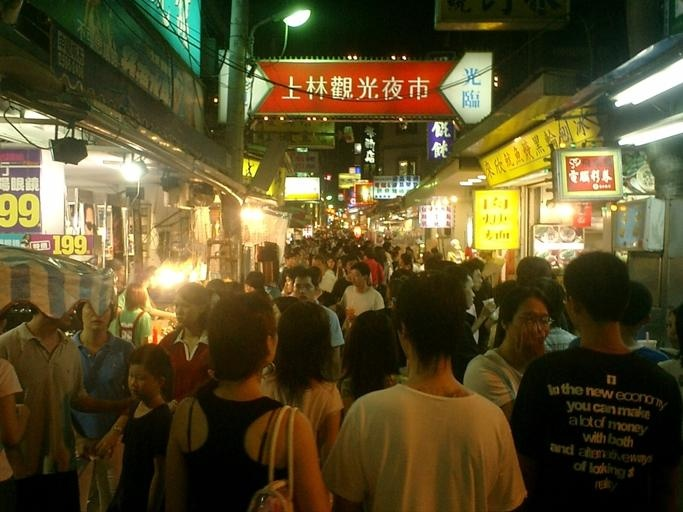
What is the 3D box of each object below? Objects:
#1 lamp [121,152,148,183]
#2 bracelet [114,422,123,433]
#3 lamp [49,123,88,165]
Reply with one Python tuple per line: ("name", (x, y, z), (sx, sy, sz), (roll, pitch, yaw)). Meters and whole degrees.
("lamp", (-2.630, -1.132, 8.336), (0.250, 0.370, 0.255), (22, 24, 38))
("bracelet", (-1.857, 1.424, 5.478), (0.060, 0.063, 0.062), (0, 0, 41))
("lamp", (-2.701, -1.184, 6.629), (0.342, 0.510, 0.156), (-5, 4, -3))
